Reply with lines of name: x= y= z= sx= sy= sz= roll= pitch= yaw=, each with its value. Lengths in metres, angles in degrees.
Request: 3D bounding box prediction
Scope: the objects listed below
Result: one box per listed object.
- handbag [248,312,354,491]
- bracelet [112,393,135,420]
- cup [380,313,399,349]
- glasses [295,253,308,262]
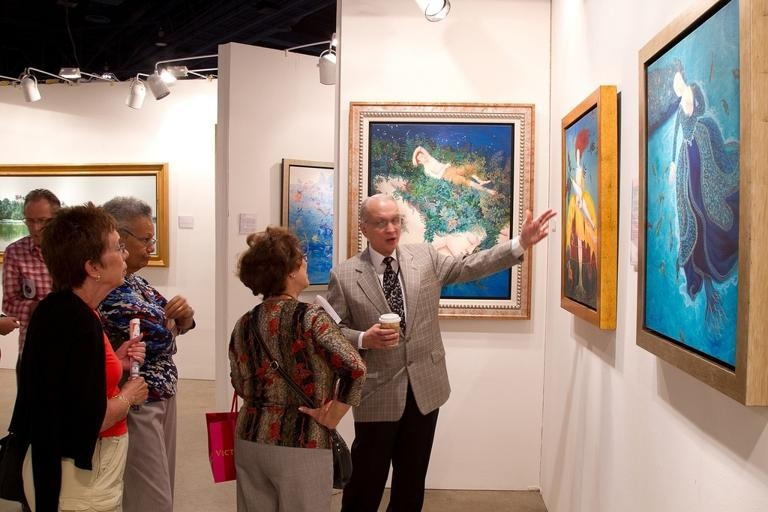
handbag: x=-0.368 y=0.658 z=2.714 sx=0.227 sy=0.860 sz=0.453 roll=-25 pitch=0 yaw=-41
bracelet: x=-1.160 y=0.660 z=2.473 sx=0.074 sy=0.037 sz=0.105 roll=-12 pitch=38 yaw=27
cup: x=0.035 y=0.399 z=3.061 sx=0.144 sy=0.160 sz=0.146 roll=1 pitch=7 yaw=0
glasses: x=-0.477 y=0.008 z=3.258 sx=0.103 sy=0.032 sz=0.100 roll=1 pitch=7 yaw=6
